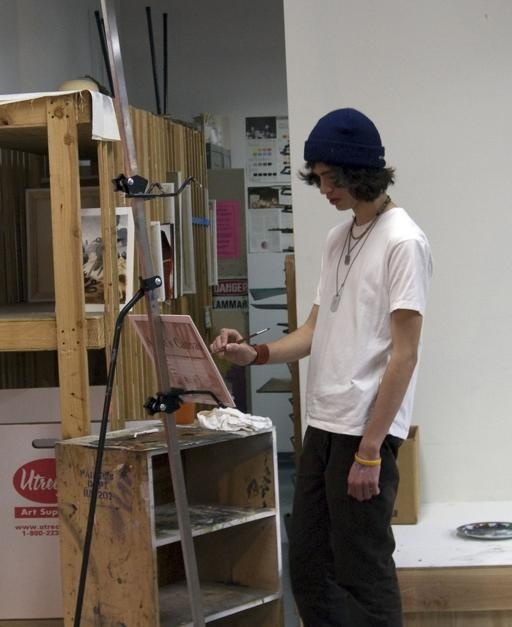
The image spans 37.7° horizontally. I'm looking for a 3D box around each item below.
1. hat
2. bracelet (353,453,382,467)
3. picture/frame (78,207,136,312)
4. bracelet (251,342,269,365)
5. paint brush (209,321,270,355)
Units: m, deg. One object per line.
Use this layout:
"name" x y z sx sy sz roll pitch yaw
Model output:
"hat" 0.243 -0.450 2.055 0.171 0.137 0.179 5 8 1
"bracelet" 0.303 0.388 1.973 0.080 0.030 0.053 -1 3 -16
"picture/frame" -0.625 -0.235 3.168 0.223 0.445 0.433 -1 3 -12
"bracelet" 0.017 0.127 2.339 0.046 0.044 0.059 0 -4 -2
"paint brush" -0.081 0.112 3.757 0.450 0.064 0.034 -26 32 -31
